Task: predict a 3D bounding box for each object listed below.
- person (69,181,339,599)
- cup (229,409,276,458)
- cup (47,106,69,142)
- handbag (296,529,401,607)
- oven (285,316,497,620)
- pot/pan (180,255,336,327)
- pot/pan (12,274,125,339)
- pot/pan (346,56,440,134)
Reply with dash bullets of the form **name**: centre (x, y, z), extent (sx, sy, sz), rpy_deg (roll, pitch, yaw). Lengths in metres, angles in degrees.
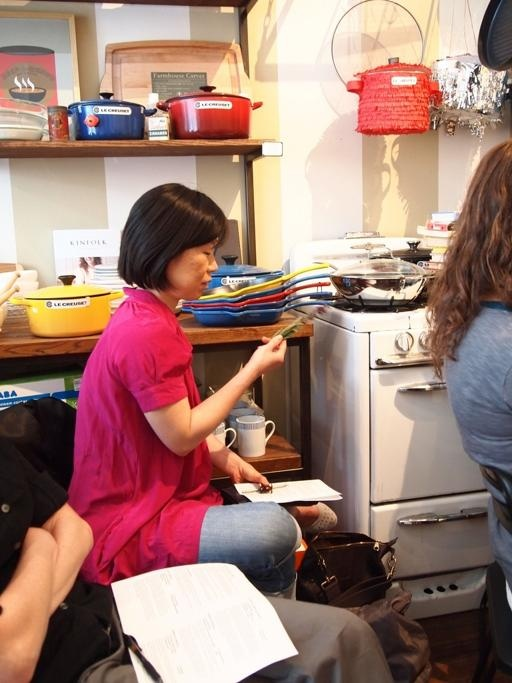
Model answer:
- **person**: centre (-0.073, 0.156, 1.166), extent (0.641, 0.931, 0.436), rpy_deg (1, -1, -20)
- **cup**: centre (-0.006, 0.274, 1.586), extent (0.146, 0.123, 0.093), rpy_deg (-5, 14, -18)
- **cup**: centre (-0.614, -0.680, 1.644), extent (0.059, 0.111, 0.062), rpy_deg (-2, 4, 0)
- **handbag**: centre (0.211, 0.543, 1.284), extent (0.217, 0.189, 0.148), rpy_deg (4, -2, -6)
- **oven**: centre (0.398, 0.473, 1.661), extent (0.519, 0.889, 0.466), rpy_deg (13, -32, -44)
- **pot/pan**: centre (0.016, -0.130, 1.530), extent (0.411, 0.140, 0.257), rpy_deg (-9, 21, -2)
- **pot/pan**: centre (-0.504, -0.086, 1.432), extent (0.262, 0.128, 0.207), rpy_deg (-11, 15, -43)
- **pot/pan**: centre (0.504, -0.871, 1.881), extent (0.358, 0.246, 0.219), rpy_deg (-2, 4, -6)
